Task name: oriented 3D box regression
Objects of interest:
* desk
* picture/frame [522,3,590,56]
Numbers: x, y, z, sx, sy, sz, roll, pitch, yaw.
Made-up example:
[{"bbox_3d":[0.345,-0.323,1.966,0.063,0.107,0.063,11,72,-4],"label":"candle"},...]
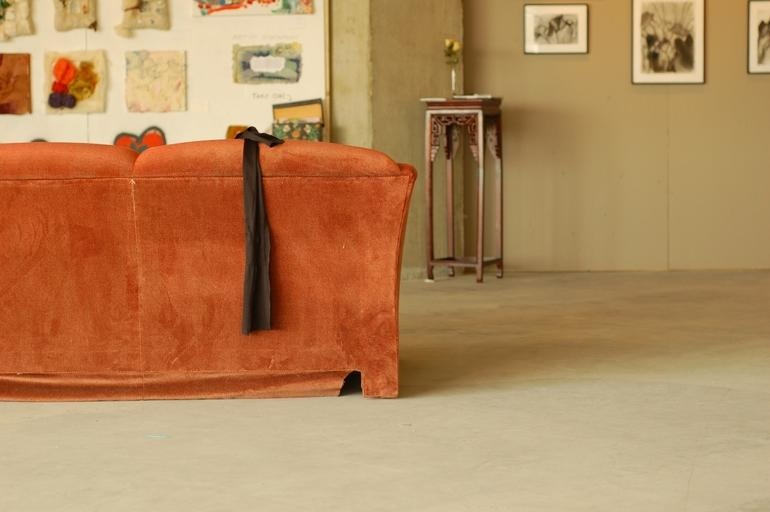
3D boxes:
[{"bbox_3d":[0.568,-0.529,8.361,0.522,1.344,0.532,0,4,14],"label":"desk"},{"bbox_3d":[1.342,-1.803,8.713,0.391,0.289,0.015,0,0,0],"label":"picture/frame"}]
